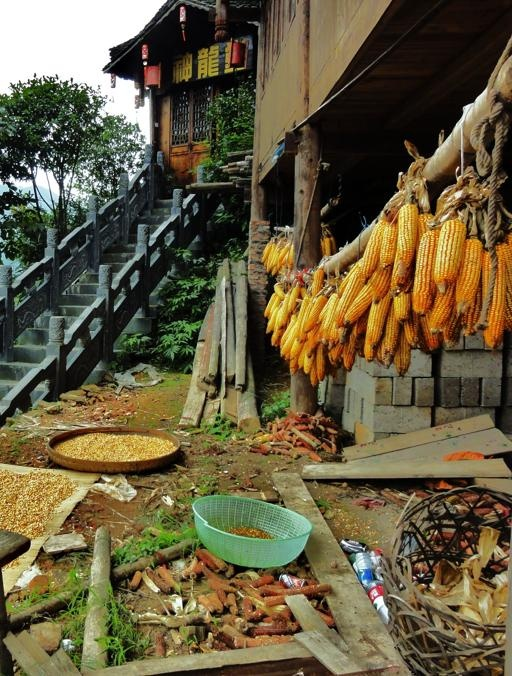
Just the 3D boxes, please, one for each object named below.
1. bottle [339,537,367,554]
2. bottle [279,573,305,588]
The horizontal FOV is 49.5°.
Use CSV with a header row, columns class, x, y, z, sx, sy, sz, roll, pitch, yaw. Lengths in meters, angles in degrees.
class,x,y,z,sx,sy,sz,roll,pitch,yaw
bottle,0.542,1.183,3.135,0.166,0.052,0.135,2,5,21
bottle,0.176,1.217,2.789,0.060,0.053,0.087,-4,-1,-33
